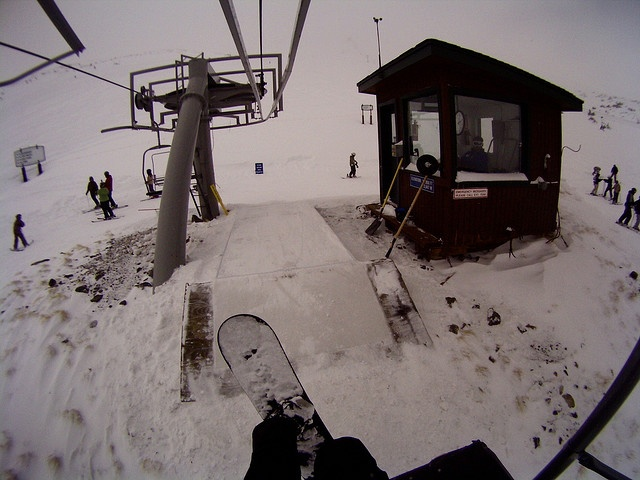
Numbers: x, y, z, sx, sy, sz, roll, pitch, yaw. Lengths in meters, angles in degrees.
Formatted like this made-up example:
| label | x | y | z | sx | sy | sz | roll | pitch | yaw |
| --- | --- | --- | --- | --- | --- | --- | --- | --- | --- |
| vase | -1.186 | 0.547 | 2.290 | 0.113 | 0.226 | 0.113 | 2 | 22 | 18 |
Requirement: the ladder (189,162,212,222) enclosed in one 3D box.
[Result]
| label | x | y | z | sx | sy | sz | roll | pitch | yaw |
| --- | --- | --- | --- | --- | --- | --- | --- | --- | --- |
| ladder | -2.817 | -0.988 | 9.754 | 0.284 | 1.645 | 0.293 | -2 | 13 | 33 |

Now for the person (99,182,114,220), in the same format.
| label | x | y | z | sx | sy | sz | roll | pitch | yaw |
| --- | --- | --- | --- | --- | --- | --- | --- | --- | --- |
| person | -5.869 | -1.070 | 11.322 | 0.321 | 0.960 | 0.505 | -8 | 19 | -27 |

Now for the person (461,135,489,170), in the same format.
| label | x | y | z | sx | sy | sz | roll | pitch | yaw |
| --- | --- | --- | --- | --- | --- | --- | --- | --- | --- |
| person | 3.189 | -1.752 | 8.527 | 0.549 | 0.629 | 1.053 | 7 | 19 | 20 |

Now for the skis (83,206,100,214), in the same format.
| label | x | y | z | sx | sy | sz | roll | pitch | yaw |
| --- | --- | --- | --- | --- | --- | --- | --- | --- | --- |
| skis | -7.048 | -0.896 | 12.737 | 0.597 | 0.107 | 0.210 | -6 | 32 | -14 |

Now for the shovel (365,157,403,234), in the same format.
| label | x | y | z | sx | sy | sz | roll | pitch | yaw |
| --- | --- | --- | --- | --- | --- | --- | --- | --- | --- |
| shovel | 1.400 | -1.012 | 8.929 | 0.652 | 1.485 | 1.599 | 4 | 18 | 13 |
